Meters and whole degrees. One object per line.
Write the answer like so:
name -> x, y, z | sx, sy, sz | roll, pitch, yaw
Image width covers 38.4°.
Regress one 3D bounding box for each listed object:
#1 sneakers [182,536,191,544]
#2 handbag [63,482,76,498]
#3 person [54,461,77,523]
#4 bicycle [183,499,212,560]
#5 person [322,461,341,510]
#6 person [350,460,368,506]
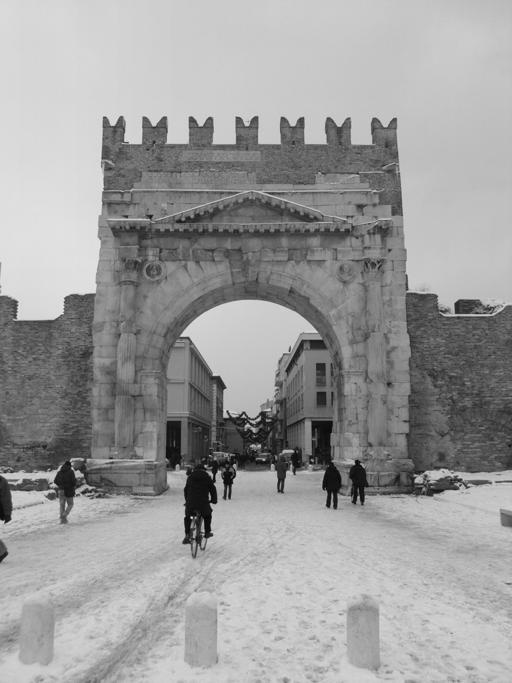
sneakers -> -1.094, 3.116, 11.518 | 0.095, 0.146, 0.409 | 2, -9, -7
handbag -> -3.786, 3.032, 14.994 | 0.172, 0.320, 0.365 | -1, -8, 15
person -> -4.041, 3.179, 15.567 | 0.384, 1.256, 1.610 | 2, -8, -13
bicycle -> -0.944, 2.969, 11.851 | 0.352, 0.591, 0.947 | -26, -3, 18
person -> 1.897, 3.459, 18.162 | 0.488, 1.338, 0.424 | 7, 18, 7
person -> 2.716, 3.769, 19.690 | 0.457, 1.151, 1.574 | 0, -8, 8
